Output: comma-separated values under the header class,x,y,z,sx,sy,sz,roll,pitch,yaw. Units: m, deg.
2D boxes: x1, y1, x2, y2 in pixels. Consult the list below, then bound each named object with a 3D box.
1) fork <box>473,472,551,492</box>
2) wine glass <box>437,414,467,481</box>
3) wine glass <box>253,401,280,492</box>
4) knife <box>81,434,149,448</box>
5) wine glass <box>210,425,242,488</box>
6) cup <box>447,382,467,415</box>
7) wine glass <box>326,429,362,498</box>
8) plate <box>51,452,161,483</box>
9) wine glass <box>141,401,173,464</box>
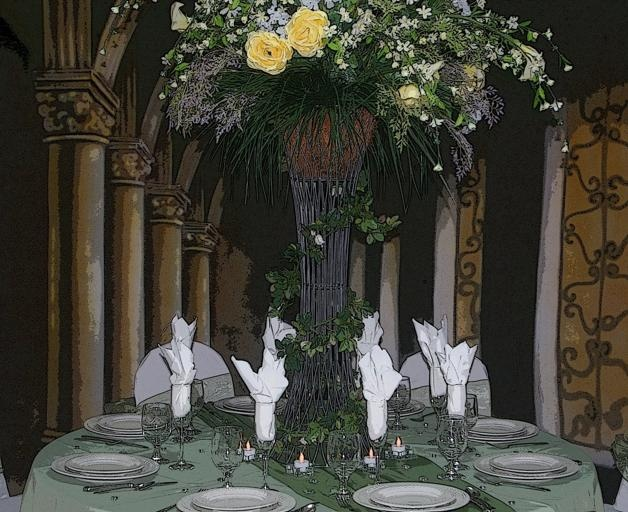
class,x,y,z,sx,sy,sz,roll,pitch,yaw
fork,0.871,0.981,4.207,0.281,0.036,0.042,5,8,15
wine glass,0.612,0.825,4.312,0.128,0.284,0.226,1,10,8
wine glass,-0.207,0.800,4.127,0.090,0.376,0.244,-1,10,-4
knife,-0.955,0.896,4.694,0.367,0.018,0.066,8,37,15
wine glass,-0.369,0.854,4.171,0.129,0.284,0.198,0,10,0
cup,0.662,0.663,4.523,0.086,0.139,0.086,0,10,0
wine glass,0.103,0.863,4.066,0.124,0.293,0.158,-6,11,-30
plate,-0.935,0.932,4.312,0.476,0.056,0.287,4,10,24
wine glass,-0.723,0.791,4.484,0.133,0.299,0.246,-2,10,-9
